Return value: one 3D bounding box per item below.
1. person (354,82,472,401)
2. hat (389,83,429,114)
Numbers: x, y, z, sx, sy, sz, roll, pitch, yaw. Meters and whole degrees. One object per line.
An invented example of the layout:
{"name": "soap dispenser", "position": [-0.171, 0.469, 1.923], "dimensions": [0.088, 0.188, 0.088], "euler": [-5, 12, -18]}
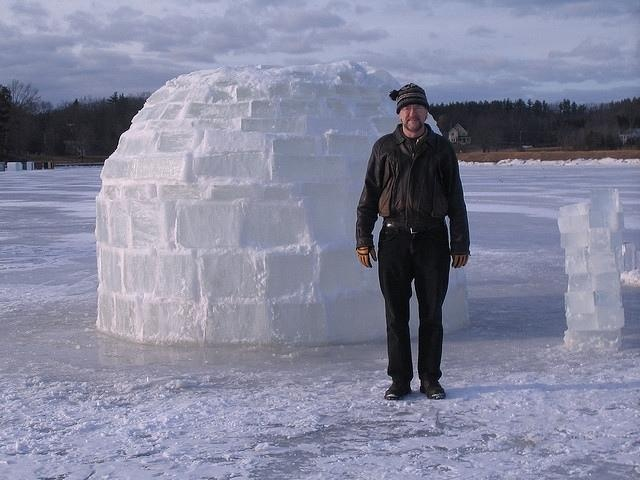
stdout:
{"name": "person", "position": [0.650, 0.013, 6.309], "dimensions": [0.782, 2.178, 0.349], "euler": [-1, 8, 2]}
{"name": "hat", "position": [0.615, -0.976, 6.272], "dimensions": [0.217, 0.185, 0.162], "euler": [-6, -1, 17]}
